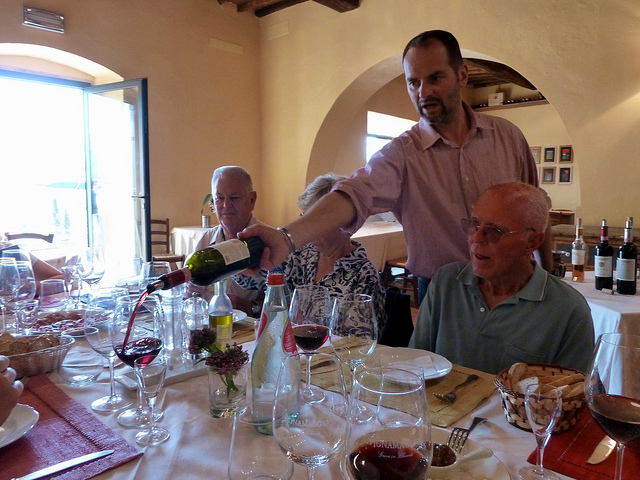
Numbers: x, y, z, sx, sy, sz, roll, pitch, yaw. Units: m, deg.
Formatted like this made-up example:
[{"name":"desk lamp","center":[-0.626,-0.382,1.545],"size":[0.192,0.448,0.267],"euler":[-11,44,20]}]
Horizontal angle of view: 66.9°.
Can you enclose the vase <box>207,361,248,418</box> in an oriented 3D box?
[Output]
[{"name":"vase","center":[-0.243,0.408,1.418],"size":[0.137,0.175,0.148],"euler":[0,6,-6]}]

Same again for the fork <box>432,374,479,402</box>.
[{"name":"fork","center":[0.454,0.445,1.565],"size":[0.055,0.058,0.319],"euler":[2,1,37]}]

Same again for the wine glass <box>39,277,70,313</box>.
[{"name":"wine glass","center":[-1.276,0.269,2.333],"size":[0.134,0.150,0.133],"euler":[5,7,39]}]

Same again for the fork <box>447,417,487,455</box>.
[{"name":"fork","center":[0.415,0.508,1.330],"size":[0.043,0.041,0.334],"euler":[24,3,24]}]

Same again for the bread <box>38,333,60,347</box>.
[{"name":"bread","center":[-0.947,0.348,1.700],"size":[0.046,0.014,0.047],"euler":[6,8,40]}]

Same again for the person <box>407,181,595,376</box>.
[{"name":"person","center":[0.733,0.168,2.026],"size":[0.463,0.913,0.809],"euler":[7,1,-40]}]

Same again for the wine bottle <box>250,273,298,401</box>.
[{"name":"wine bottle","center":[-0.122,0.302,1.384],"size":[0.139,0.415,0.132],"euler":[1,12,0]}]

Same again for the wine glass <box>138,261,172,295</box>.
[{"name":"wine glass","center":[-0.661,0.152,1.938],"size":[0.117,0.124,0.122],"euler":[1,-5,-7]}]

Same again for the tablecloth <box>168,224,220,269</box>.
[{"name":"tablecloth","center":[-1.699,0.013,5.885],"size":[0.627,0.337,0.622],"euler":[5,6,-41]}]

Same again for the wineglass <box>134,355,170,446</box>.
[{"name":"wineglass","center":[-0.465,0.432,1.338],"size":[0.117,0.227,0.120],"euler":[4,4,42]}]

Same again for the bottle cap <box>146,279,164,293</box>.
[{"name":"bottle cap","center":[-0.456,0.125,1.359],"size":[0.026,0.028,0.065],"euler":[-18,-1,24]}]

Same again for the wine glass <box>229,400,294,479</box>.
[{"name":"wine glass","center":[-0.130,0.434,1.135],"size":[0.154,0.170,0.170],"euler":[0,-5,-5]}]

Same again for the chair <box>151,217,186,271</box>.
[{"name":"chair","center":[-1.773,0.148,5.561],"size":[0.380,0.666,0.397],"euler":[-9,24,-35]}]

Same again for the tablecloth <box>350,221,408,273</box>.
[{"name":"tablecloth","center":[0.733,0.030,5.940],"size":[0.535,0.697,1.045],"euler":[0,5,25]}]

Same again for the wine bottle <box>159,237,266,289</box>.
[{"name":"wine bottle","center":[-0.326,0.068,1.518],"size":[0.379,0.146,0.132],"euler":[-4,3,-41]}]

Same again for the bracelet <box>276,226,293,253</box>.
[{"name":"bracelet","center":[-0.119,-0.002,1.714],"size":[0.045,0.082,0.045],"euler":[-2,3,-5]}]
